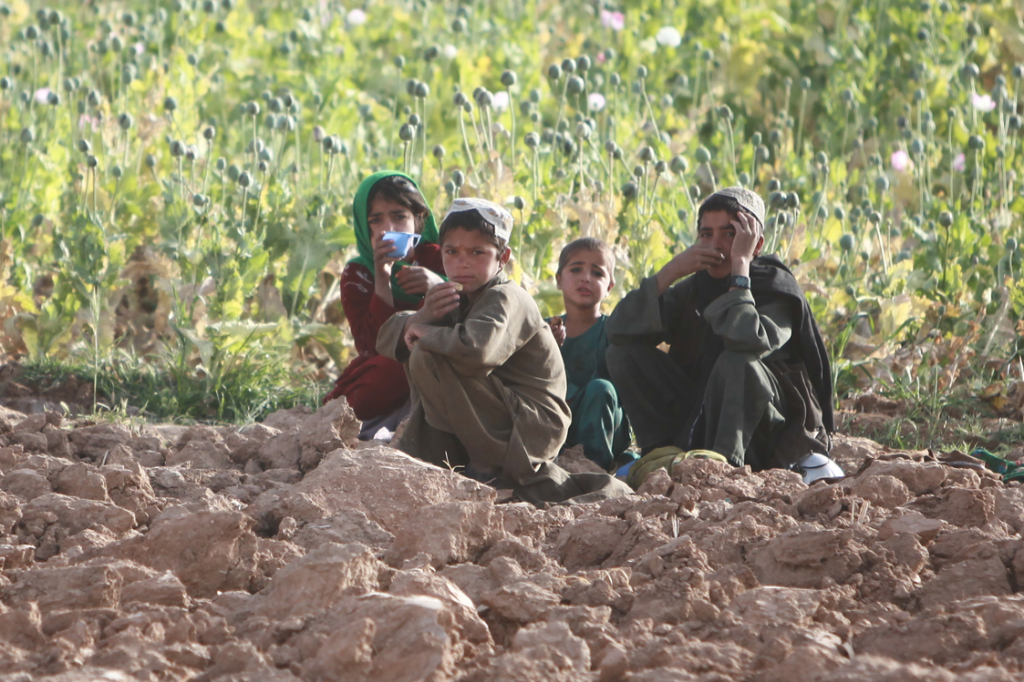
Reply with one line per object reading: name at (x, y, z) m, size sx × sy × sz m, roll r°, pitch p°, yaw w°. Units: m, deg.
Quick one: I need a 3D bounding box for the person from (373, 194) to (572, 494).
person at (-0.148, 0.065, 7.418) m, size 0.939 × 1.451 × 0.822 m, roll 4°, pitch -3°, yaw -18°

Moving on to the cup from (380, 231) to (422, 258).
cup at (-0.560, -0.479, 7.786) m, size 0.130 × 0.104 × 0.153 m, roll 0°, pitch -15°, yaw 4°

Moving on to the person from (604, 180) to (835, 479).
person at (1.080, 0.011, 7.788) m, size 1.033 × 1.442 × 1.037 m, roll 2°, pitch -7°, yaw 22°
